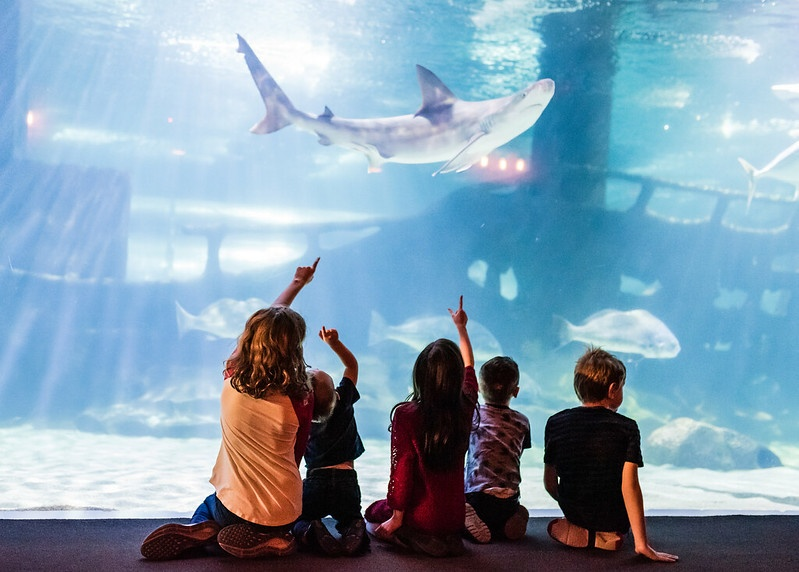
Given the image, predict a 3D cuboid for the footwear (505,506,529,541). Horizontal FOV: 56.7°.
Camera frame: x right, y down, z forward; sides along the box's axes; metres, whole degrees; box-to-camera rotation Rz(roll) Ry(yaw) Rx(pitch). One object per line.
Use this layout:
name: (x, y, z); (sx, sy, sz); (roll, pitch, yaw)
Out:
footwear: (2.963, 5.990, 18.576); (0.548, 0.899, 0.362); (4, -4, -5)

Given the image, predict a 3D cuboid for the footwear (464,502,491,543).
footwear: (1.927, 5.997, 18.585); (0.459, 1.210, 0.554); (-27, -11, -4)
